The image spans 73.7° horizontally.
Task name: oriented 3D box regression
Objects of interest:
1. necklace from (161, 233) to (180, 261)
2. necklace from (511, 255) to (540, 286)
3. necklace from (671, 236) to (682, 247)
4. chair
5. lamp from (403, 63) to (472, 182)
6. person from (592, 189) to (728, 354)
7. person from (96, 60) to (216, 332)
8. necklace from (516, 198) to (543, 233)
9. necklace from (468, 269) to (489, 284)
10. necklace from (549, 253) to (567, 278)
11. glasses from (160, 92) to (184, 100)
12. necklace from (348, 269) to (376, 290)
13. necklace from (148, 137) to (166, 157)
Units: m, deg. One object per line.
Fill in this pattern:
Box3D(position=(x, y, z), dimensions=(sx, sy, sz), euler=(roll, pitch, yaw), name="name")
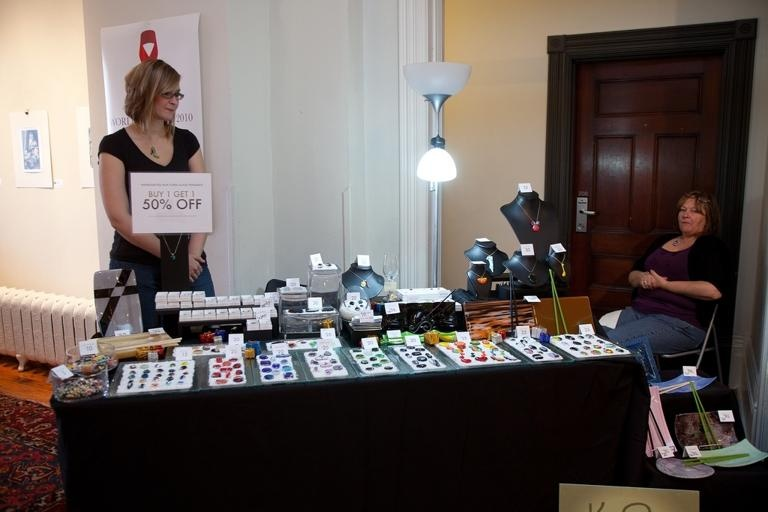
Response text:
Box3D(position=(-1.316, -0.046, 3.175), dimensions=(0.086, 0.149, 0.041), euler=(-4, 9, -19), name="necklace")
Box3D(position=(0.859, 0.101, 3.122), dimensions=(0.162, 0.160, 0.099), euler=(-5, -3, -29), name="necklace")
Box3D(position=(2.155, -0.100, 3.785), dimensions=(0.075, 0.027, 0.043), euler=(-50, 28, -15), name="necklace")
Box3D(position=(2.314, 0.672, 3.759), dimensions=(0.384, 0.602, 0.386), euler=(-5, -14, 12), name="chair")
Box3D(position=(0.370, -0.925, 3.535), dimensions=(0.489, 0.730, 0.482), euler=(-3, 16, -4), name="lamp")
Box3D(position=(2.013, 0.103, 3.695), dimensions=(0.758, 1.087, 0.492), euler=(-2, 9, -5), name="person")
Box3D(position=(-1.505, -0.389, 3.402), dimensions=(0.669, 1.793, 0.505), euler=(-5, 9, -27), name="person")
Box3D(position=(0.955, -0.249, 3.377), dimensions=(0.210, 0.261, 0.150), euler=(-2, -2, -10), name="necklace")
Box3D(position=(0.578, 0.133, 3.168), dimensions=(0.120, 0.072, 0.114), euler=(1, 11, -17), name="necklace")
Box3D(position=(1.081, 0.071, 3.197), dimensions=(0.113, 0.141, 0.093), euler=(2, 9, 18), name="necklace")
Box3D(position=(-1.431, -1.052, 3.408), dimensions=(0.102, 0.031, 0.101), euler=(0, 3, 43), name="glasses")
Box3D(position=(-0.138, 0.139, 2.976), dimensions=(0.140, 0.135, 0.090), euler=(2, -23, -10), name="necklace")
Box3D(position=(-1.508, -0.715, 3.388), dimensions=(0.107, 0.146, 0.020), euler=(-19, 14, -41), name="necklace")
